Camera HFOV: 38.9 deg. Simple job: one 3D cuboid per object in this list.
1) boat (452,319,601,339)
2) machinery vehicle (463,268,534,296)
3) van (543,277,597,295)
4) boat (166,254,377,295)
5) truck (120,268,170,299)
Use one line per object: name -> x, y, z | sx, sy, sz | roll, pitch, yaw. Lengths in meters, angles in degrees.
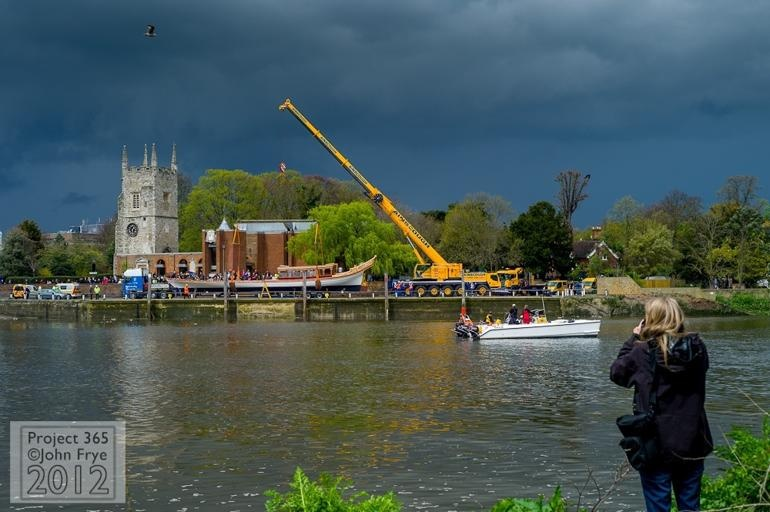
boat -> 10.240, 5.216, 76.928 | 9.313, 1.324, 2.008 | -2, -4, 6
machinery vehicle -> 10.108, 2.399, 100.045 | 5.491, 2.369, 2.349 | 0, -4, -26
van -> 17.382, 2.892, 102.216 | 4.424, 1.586, 6.593 | -3, -4, 14
boat -> -10.560, 1.973, 109.602 | 17.252, 3.023, 3.344 | 0, -11, 2
truck -> -22.876, 2.669, 108.509 | 6.570, 3.292, 2.780 | 2, -3, 0
